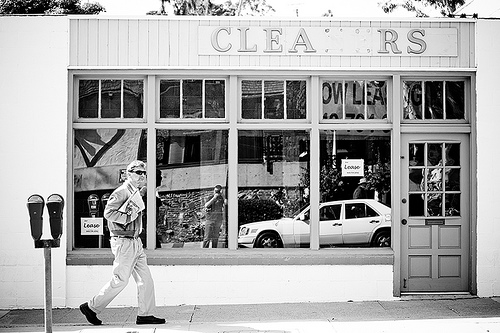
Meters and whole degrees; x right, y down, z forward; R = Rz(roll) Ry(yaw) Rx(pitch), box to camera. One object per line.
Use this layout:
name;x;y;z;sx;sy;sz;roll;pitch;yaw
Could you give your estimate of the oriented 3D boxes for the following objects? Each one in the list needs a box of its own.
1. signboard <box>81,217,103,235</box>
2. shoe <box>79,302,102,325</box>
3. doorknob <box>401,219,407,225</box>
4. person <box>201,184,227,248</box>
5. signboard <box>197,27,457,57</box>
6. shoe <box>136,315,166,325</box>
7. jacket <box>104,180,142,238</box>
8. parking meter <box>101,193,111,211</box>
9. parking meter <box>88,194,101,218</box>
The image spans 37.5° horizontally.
signboard;-3.072;1.165;14.411;0.524;0.379;0.281;1;-5;-3
shoe;-2.826;2.606;13.139;0.236;0.520;0.183;-30;8;-3
doorknob;3.019;1.091;14.547;0.111;0.118;0.032;-1;2;-12
person;-0.720;0.975;14.683;0.437;1.242;0.356;5;1;0
signboard;1.485;-2.424;14.361;4.941;0.604;0.061;-1;2;-1
shoe;-1.769;2.733;13.216;0.530;0.195;0.179;0;-2;-9
jacket;-2.252;0.761;13.093;0.618;1.007;0.245;-1;2;-9
parking meter;-2.760;0.693;14.216;0.231;0.422;0.240;-1;1;-2
parking meter;-3.031;0.758;14.397;0.224;0.447;0.035;-1;2;1
